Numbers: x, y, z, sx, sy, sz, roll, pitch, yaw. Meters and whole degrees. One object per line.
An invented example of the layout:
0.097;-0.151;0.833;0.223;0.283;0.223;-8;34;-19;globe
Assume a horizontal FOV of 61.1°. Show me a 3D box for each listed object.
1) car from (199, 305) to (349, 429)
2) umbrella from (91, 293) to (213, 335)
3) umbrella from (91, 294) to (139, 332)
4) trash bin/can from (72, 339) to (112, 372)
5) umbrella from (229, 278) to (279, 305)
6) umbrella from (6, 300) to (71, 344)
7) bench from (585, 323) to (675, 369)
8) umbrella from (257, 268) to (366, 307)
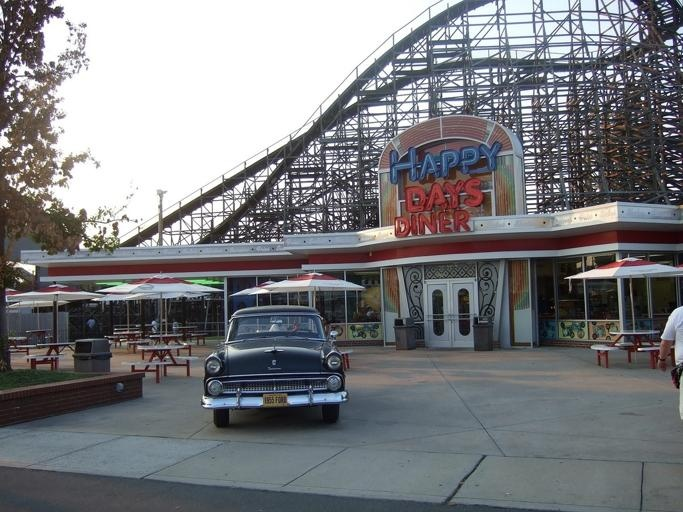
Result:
-1.099;1.560;9.856;2.108;1.490;3.469;-1;3;-4;car
-8.866;2.699;26.938;2.793;1.213;2.658;-1;-3;12;umbrella
-10.779;2.747;27.455;2.454;1.879;2.345;0;-4;14;umbrella
-5.447;2.203;12.706;0.636;0.731;0.540;-3;-6;24;trash bin/can
-2.852;1.104;19.144;1.332;0.426;1.254;-4;-8;-5;umbrella
-12.707;2.821;24.436;2.600;1.552;2.302;-1;-8;-2;umbrella
7.715;2.393;15.370;1.820;0.515;1.808;-1;-1;-24;bench
-0.781;0.803;17.056;1.629;0.513;1.709;7;7;38;umbrella
